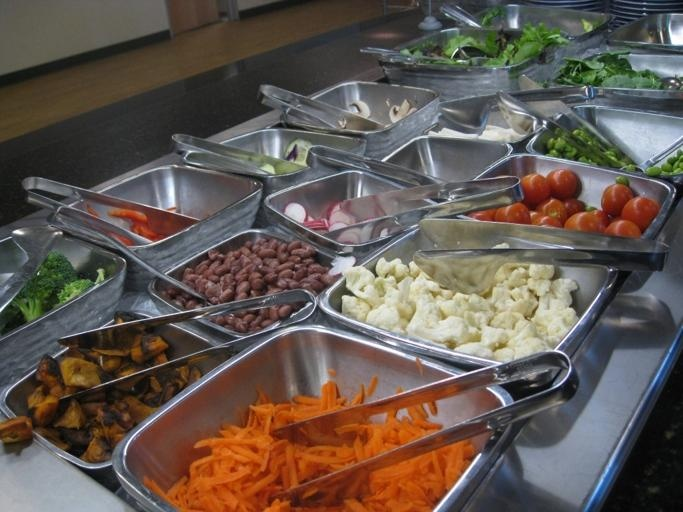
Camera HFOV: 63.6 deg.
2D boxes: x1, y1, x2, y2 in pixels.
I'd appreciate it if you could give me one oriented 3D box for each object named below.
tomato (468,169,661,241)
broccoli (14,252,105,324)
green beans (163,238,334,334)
[{"bbox_3d":[0.608,-0.128,1.482,0.398,0.107,0.370,20,41,26],"label":"tomato"},{"bbox_3d":[-0.633,0.072,1.223,0.130,0.094,0.186,17,41,22],"label":"broccoli"},{"bbox_3d":[-0.220,0.042,1.295,0.272,0.068,0.264,-33,38,-33],"label":"green beans"}]
